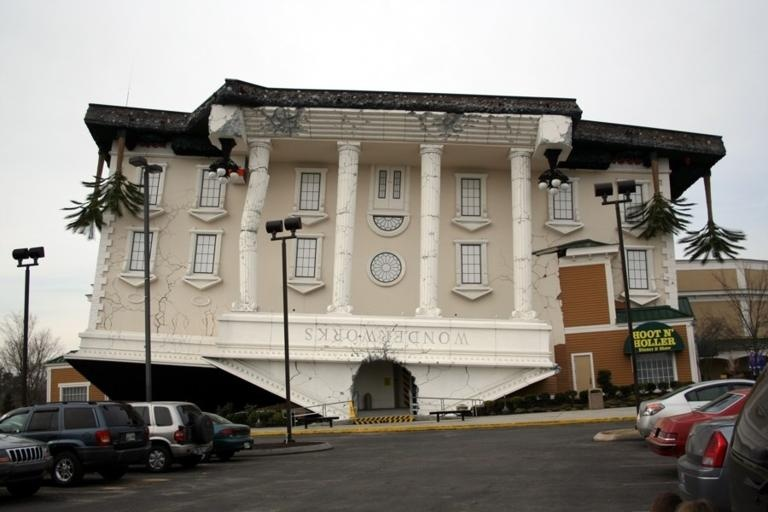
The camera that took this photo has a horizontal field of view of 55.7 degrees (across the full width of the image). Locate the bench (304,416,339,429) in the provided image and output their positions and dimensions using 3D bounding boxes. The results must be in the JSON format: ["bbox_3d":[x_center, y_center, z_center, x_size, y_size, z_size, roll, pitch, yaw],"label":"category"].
[{"bbox_3d":[-3.428,8.789,38.993,1.839,0.586,2.305,0,-12,-6],"label":"bench"}]

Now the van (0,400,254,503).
[{"bbox_3d":[-8.089,5.723,22.594,5.995,2.412,2.819,5,-14,-28],"label":"van"}]

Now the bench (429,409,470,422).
[{"bbox_3d":[3.511,8.261,37.961,2.060,0.574,2.281,-2,-12,3],"label":"bench"}]

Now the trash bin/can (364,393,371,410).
[{"bbox_3d":[-0.968,8.660,43.142,0.614,1.120,0.575,-2,-13,6],"label":"trash bin/can"}]
